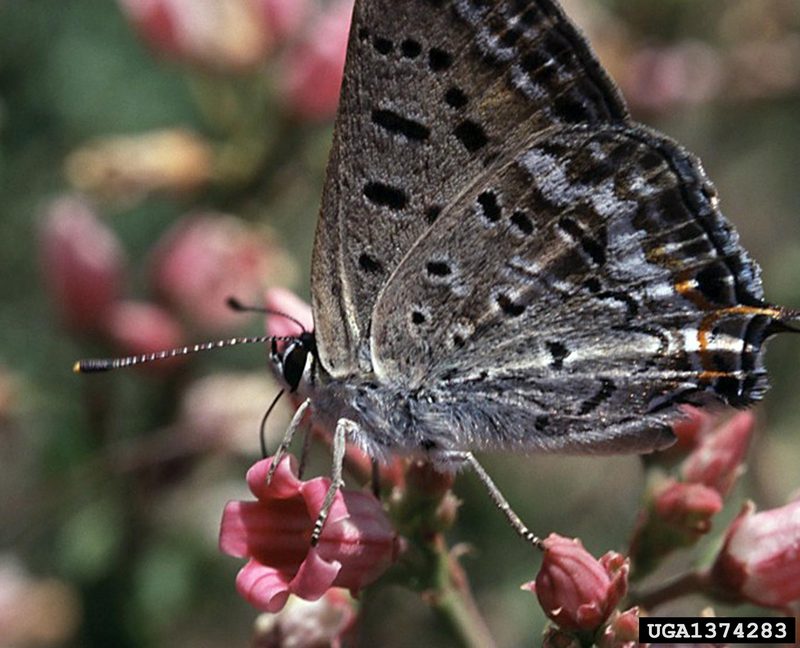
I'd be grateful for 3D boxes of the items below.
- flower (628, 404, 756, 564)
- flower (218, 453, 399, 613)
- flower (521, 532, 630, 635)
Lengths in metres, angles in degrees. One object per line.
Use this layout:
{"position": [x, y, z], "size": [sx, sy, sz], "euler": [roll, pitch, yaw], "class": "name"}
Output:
{"position": [0.833, 0.468, 2.698], "size": [0.157, 0.424, 0.430], "euler": [27, 90, 21], "class": "flower"}
{"position": [-0.216, 0.530, 2.321], "size": [0.414, 0.162, 0.375], "euler": [-2, 52, -5], "class": "flower"}
{"position": [0.448, 0.646, 2.350], "size": [0.244, 0.188, 0.261], "euler": [-8, 41, -3], "class": "flower"}
